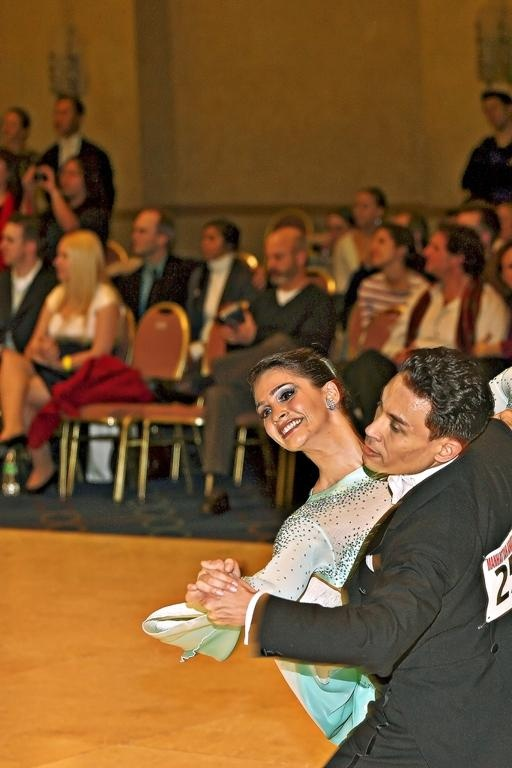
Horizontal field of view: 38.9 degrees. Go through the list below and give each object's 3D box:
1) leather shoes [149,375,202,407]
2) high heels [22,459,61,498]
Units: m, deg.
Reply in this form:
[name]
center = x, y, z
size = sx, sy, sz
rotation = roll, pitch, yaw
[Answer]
[leather shoes]
center = -0.378, 0.040, 3.481
size = 0.235, 0.134, 0.060
rotation = -2, -8, 11
[high heels]
center = -1.034, 0.469, 3.444
size = 0.240, 0.127, 0.074
rotation = -14, 10, -15
